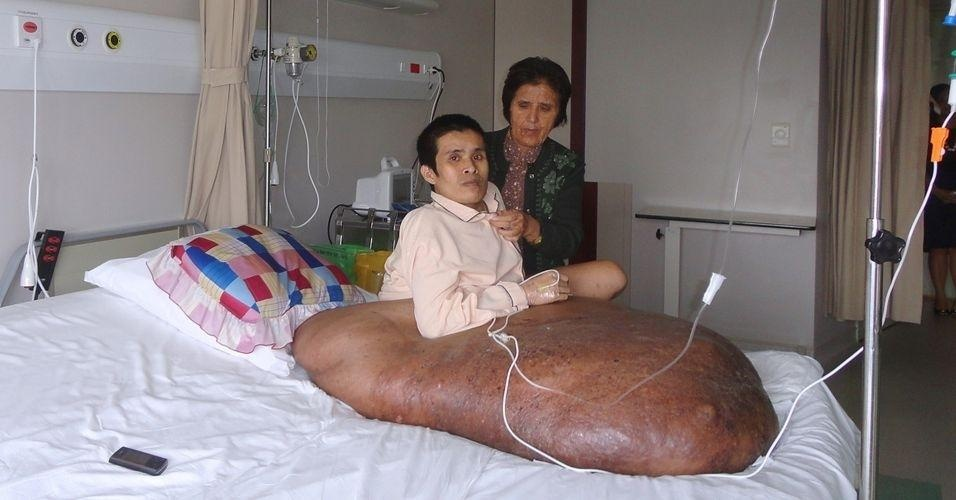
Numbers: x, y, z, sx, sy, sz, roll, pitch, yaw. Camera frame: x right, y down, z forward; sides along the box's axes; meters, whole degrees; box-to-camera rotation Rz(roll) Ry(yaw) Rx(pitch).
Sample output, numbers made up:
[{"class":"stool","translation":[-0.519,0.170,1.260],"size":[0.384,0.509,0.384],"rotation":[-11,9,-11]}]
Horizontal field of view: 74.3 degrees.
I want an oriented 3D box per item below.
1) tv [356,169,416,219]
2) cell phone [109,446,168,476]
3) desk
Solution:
[{"class":"tv","translation":[-0.603,-0.400,4.250],"size":[0.346,0.307,0.342],"rotation":[7,12,24]},{"class":"cell phone","translation":[-1.381,0.842,2.557],"size":[0.203,0.039,0.095],"rotation":[10,18,8]},{"class":"desk","translation":[1.979,0.082,4.937],"size":[0.993,0.829,0.313],"rotation":[1,2,23]}]
